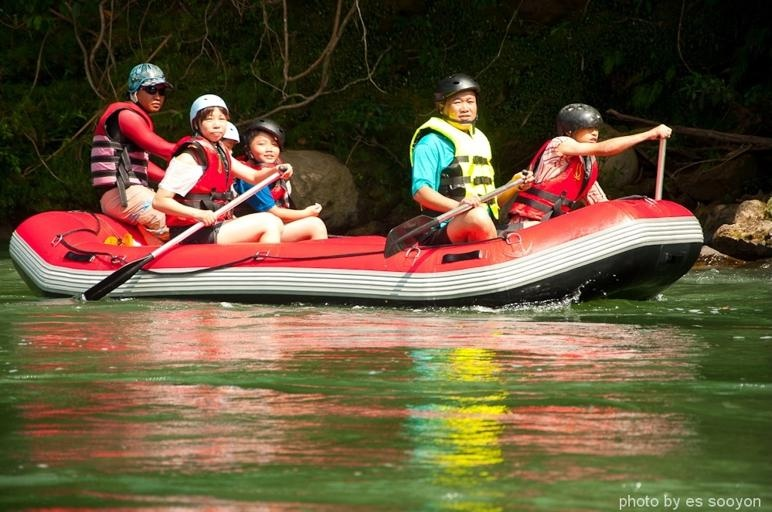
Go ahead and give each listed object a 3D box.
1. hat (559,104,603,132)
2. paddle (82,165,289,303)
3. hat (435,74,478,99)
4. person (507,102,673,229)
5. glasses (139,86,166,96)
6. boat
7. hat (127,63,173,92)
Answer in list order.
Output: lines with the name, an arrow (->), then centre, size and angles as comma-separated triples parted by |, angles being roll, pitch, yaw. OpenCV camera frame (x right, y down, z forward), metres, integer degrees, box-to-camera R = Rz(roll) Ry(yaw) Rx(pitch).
hat -> 1.554, -1.095, 7.773 | 0.363, 0.177, 0.278 | 6, 13, 24
paddle -> -1.702, -0.163, 8.383 | 2.775, 0.234, 0.168 | -23, 15, 4
hat -> 0.540, -1.363, 7.916 | 0.315, 0.124, 0.260 | 0, 5, 38
person -> 1.517, -0.687, 7.694 | 0.892, 0.989, 0.987 | -9, 16, -25
glasses -> -2.144, -1.499, 8.793 | 0.148, 0.030, 0.139 | -7, -7, 40
boat -> -0.384, 0.094, 8.189 | 4.748, 0.498, 1.821 | -1, -3, 18
hat -> -2.243, -1.612, 8.835 | 0.460, 0.156, 0.292 | -5, 2, 27
